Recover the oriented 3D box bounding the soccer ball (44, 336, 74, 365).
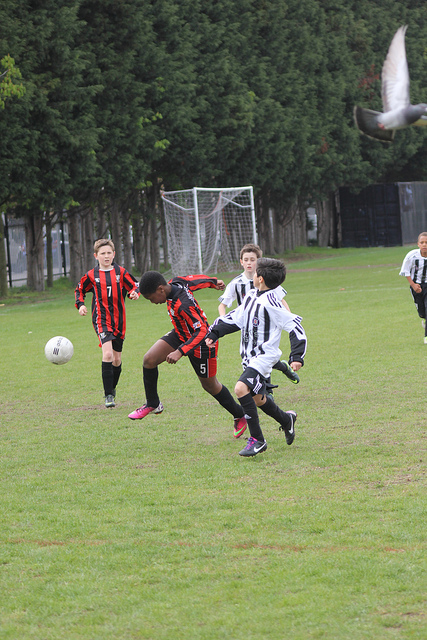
[{"bbox_3d":[-1.606,0.298,10.017,0.294,0.255,0.271,3,-23,1],"label":"soccer ball"}]

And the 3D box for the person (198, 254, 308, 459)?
[{"bbox_3d":[0.326,0.273,7.507,0.789,1.473,1.351,-5,7,0],"label":"person"}]

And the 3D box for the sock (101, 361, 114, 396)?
[{"bbox_3d":[-1.022,0.562,9.479,0.099,0.322,0.120,-7,8,-9],"label":"sock"}]
